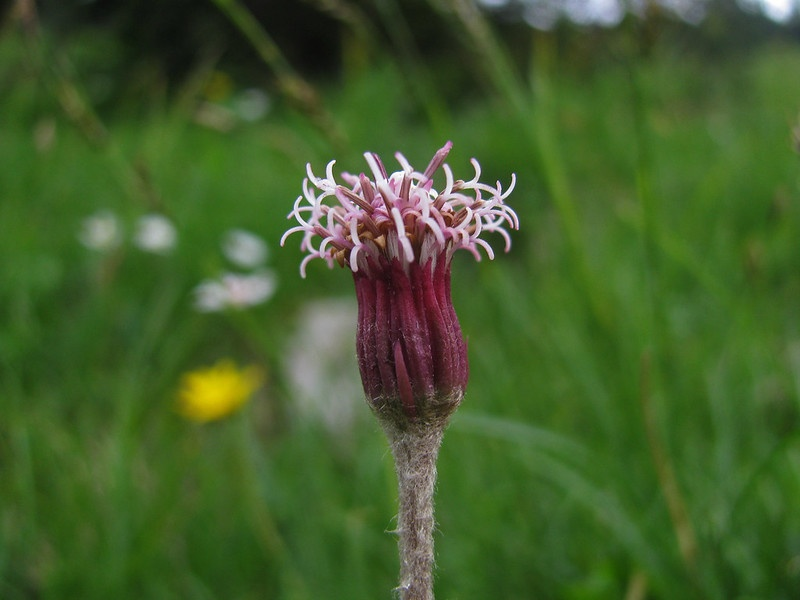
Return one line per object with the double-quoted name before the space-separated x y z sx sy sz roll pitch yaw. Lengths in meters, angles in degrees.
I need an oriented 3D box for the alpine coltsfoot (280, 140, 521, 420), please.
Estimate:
"alpine coltsfoot" 0.013 -0.035 1.313 0.308 0.387 0.280 -3 -2 8
